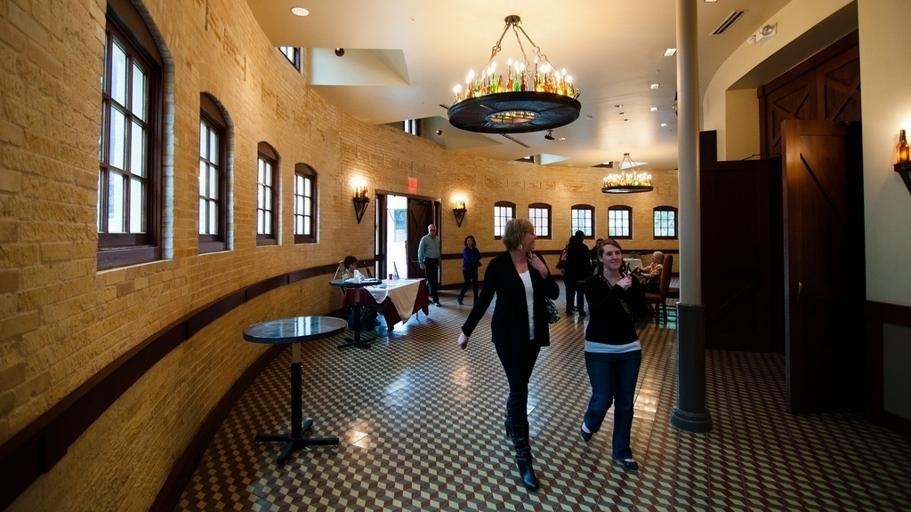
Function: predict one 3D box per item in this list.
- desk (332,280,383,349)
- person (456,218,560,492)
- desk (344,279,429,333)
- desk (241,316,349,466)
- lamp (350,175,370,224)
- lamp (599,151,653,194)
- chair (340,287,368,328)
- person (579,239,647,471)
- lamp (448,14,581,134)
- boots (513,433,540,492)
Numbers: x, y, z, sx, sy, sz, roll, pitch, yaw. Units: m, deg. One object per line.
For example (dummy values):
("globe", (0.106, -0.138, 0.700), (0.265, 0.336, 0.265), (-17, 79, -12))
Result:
("desk", (-1.741, 1.024, 9.673), (1.037, 1.059, 0.980), (-1, -7, 10))
("person", (0.661, 0.993, 5.906), (0.906, 2.723, 0.839), (10, 19, 34))
("desk", (-1.461, 0.846, 10.191), (1.020, 0.668, 1.575), (-1, 1, 21))
("desk", (-1.868, 1.514, 6.405), (1.102, 1.368, 1.061), (-6, 16, -21))
("lamp", (-2.233, -1.332, 12.595), (0.357, 0.886, 0.327), (6, -5, -14))
("lamp", (5.381, -2.807, 16.696), (1.256, 1.259, 1.209), (-12, 10, -24))
("chair", (-1.875, 0.897, 10.070), (0.427, 0.431, 0.374), (4, -6, -1))
("person", (1.766, 1.070, 6.044), (0.668, 2.438, 0.870), (3, 16, 12))
("lamp", (0.917, -2.896, 8.698), (2.045, 1.704, 1.964), (-1, -14, 5))
("boots", (0.760, 2.231, 6.005), (0.225, 0.436, 0.665), (-3, -10, 16))
